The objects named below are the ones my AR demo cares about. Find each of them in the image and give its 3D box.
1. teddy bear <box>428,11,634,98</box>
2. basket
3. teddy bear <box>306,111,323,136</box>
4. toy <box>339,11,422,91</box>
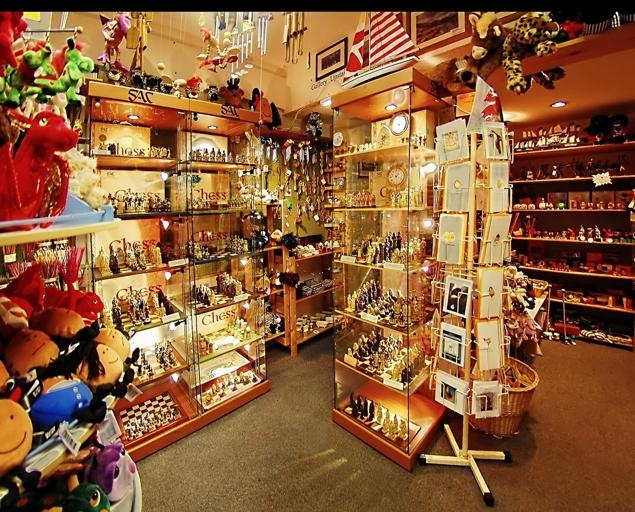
[{"bbox_3d":[1.410,-1.390,3.093,1.204,0.630,0.583,-1,6,11],"label":"teddy bear"},{"bbox_3d":[1.449,1.122,3.564,0.520,0.456,0.557,-4,8,-28],"label":"basket"},{"bbox_3d":[-0.035,-1.458,5.015,0.164,0.259,0.064,2,6,-18],"label":"teddy bear"},{"bbox_3d":[0.466,-1.531,3.219,0.345,0.579,0.606,-6,7,-33],"label":"toy"}]
